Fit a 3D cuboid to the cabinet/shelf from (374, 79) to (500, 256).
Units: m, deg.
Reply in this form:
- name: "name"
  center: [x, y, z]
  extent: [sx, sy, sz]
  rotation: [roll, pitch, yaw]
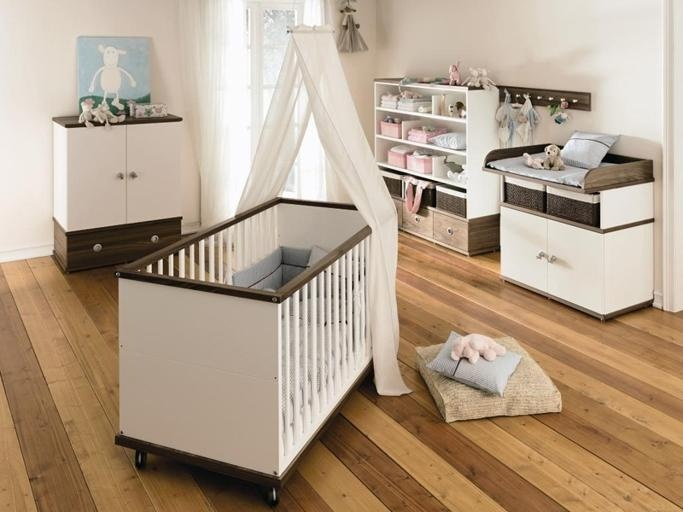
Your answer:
- name: "cabinet/shelf"
  center: [0.908, -0.782, 4.900]
  extent: [0.432, 1.504, 1.496]
  rotation: [-7, 15, -30]

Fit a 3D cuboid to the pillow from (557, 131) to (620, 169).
- name: "pillow"
  center: [1.813, -0.777, 4.005]
  extent: [0.258, 0.216, 0.285]
  rotation: [-14, 23, -29]

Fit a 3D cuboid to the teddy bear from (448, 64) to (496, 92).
- name: "teddy bear"
  center: [1.150, -1.555, 4.878]
  extent: [0.325, 0.182, 0.400]
  rotation: [-11, 22, -27]

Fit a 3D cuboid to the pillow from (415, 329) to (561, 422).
- name: "pillow"
  center: [0.791, 0.650, 2.843]
  extent: [0.453, 0.136, 0.489]
  rotation: [-5, 24, -9]

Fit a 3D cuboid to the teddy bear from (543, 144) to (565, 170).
- name: "teddy bear"
  center: [1.560, -0.710, 4.035]
  extent: [0.169, 0.159, 0.181]
  rotation: [5, -5, 37]

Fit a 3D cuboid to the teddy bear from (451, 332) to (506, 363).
- name: "teddy bear"
  center: [0.731, 0.497, 2.955]
  extent: [0.174, 0.066, 0.176]
  rotation: [1, 17, 14]

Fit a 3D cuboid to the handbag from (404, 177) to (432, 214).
- name: "handbag"
  center: [0.695, -0.586, 5.286]
  extent: [0.308, 0.215, 0.272]
  rotation: [-8, 15, -32]

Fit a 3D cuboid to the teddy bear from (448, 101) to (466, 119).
- name: "teddy bear"
  center: [1.049, -1.322, 4.921]
  extent: [0.139, 0.112, 0.189]
  rotation: [-3, 6, -8]

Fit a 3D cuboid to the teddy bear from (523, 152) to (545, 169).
- name: "teddy bear"
  center: [1.439, -0.703, 4.105]
  extent: [0.120, 0.078, 0.190]
  rotation: [-16, 22, -12]

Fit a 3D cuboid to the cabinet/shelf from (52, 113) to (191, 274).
- name: "cabinet/shelf"
  center: [-1.911, -0.542, 4.593]
  extent: [1.214, 1.435, 0.592]
  rotation: [-8, 13, -38]

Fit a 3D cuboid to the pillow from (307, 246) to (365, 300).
- name: "pillow"
  center: [-0.021, 0.097, 3.159]
  extent: [0.245, 0.351, 0.339]
  rotation: [-2, 4, -10]
